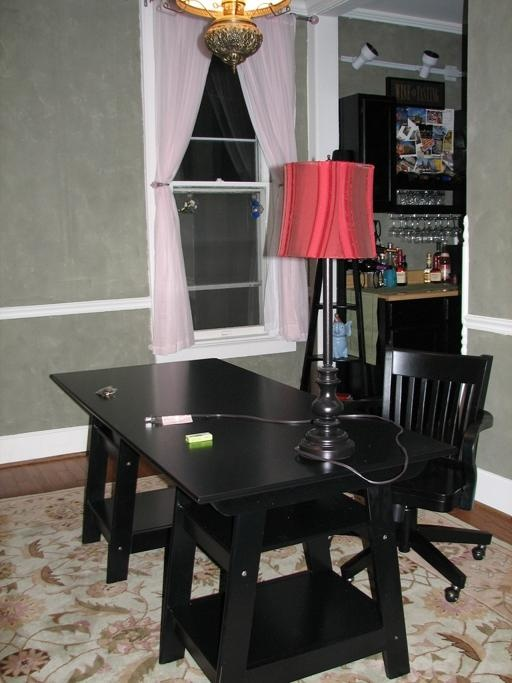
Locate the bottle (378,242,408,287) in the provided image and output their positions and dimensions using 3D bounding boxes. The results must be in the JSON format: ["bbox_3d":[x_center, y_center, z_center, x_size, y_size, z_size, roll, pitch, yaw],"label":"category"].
[{"bbox_3d":[1.081,-0.602,4.634,0.220,0.347,0.375,0,5,14],"label":"bottle"}]

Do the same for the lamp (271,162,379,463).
[{"bbox_3d":[0.164,-0.064,1.366,0.219,0.683,0.265,0,5,10],"label":"lamp"}]

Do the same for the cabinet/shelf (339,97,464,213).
[{"bbox_3d":[1.257,-1.517,4.813,1.367,0.957,0.297,-5,6,-36],"label":"cabinet/shelf"}]

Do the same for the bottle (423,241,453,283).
[{"bbox_3d":[1.528,-0.650,4.893,0.228,0.317,0.219,-1,5,0],"label":"bottle"}]

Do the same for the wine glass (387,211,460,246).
[{"bbox_3d":[1.473,-0.966,5.008,0.816,0.250,0.278,-4,6,-31],"label":"wine glass"}]

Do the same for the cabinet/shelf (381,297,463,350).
[{"bbox_3d":[1.151,-0.143,4.129,0.363,0.338,0.241,-2,5,-23],"label":"cabinet/shelf"}]
